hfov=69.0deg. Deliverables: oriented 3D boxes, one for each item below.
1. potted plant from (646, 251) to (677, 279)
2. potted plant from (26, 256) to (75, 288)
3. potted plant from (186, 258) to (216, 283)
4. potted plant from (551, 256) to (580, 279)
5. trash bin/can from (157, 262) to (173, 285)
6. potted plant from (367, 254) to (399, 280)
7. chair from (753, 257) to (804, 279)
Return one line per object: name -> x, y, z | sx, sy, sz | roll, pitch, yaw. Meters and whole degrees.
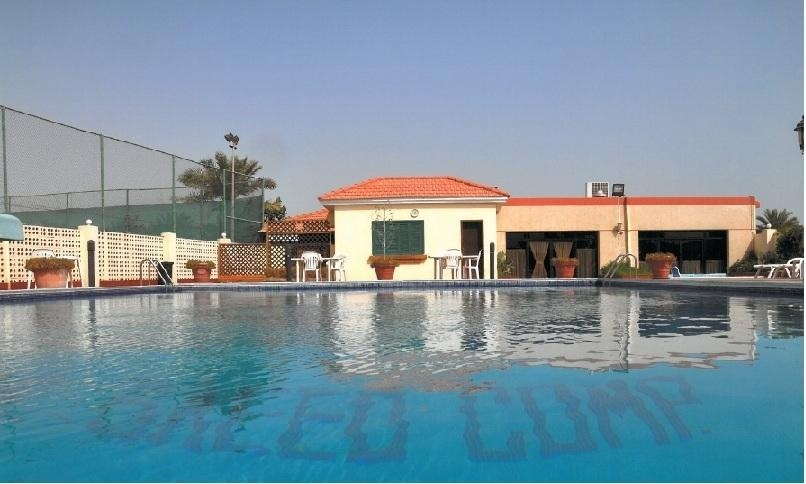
potted plant -> 9.415, 0.858, 21.538 | 1.155, 0.746, 1.007 | 1, -12, 1
potted plant -> -10.955, 0.927, 18.119 | 1.431, 0.976, 1.422 | 2, -4, -41
potted plant -> -8.085, 1.127, 23.175 | 1.183, 0.736, 0.919 | 1, -8, -15
potted plant -> 6.493, 1.010, 23.575 | 0.906, 0.607, 0.858 | 1, -5, -21
trash bin/can -> -8.375, 1.104, 20.641 | 0.832, 0.960, 0.832 | 0, -5, -21
potted plant -> -0.784, 0.982, 22.411 | 0.985, 0.733, 0.924 | 0, -3, 5
chair -> 13.491, 0.977, 21.035 | 1.144, 0.521, 1.616 | 2, -6, -30
